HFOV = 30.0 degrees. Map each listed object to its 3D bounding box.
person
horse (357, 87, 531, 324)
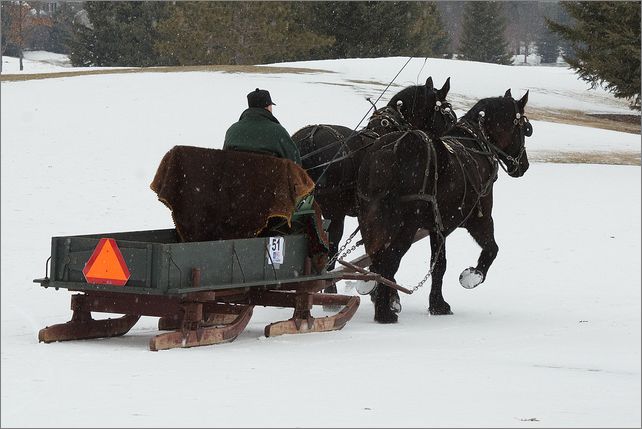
[{"bbox_3d":[-1.321,-1.925,26.457,1.663,1.421,1.003,3,19,-2],"label":"person"},{"bbox_3d":[2.916,-0.042,28.955,2.062,5.308,5.911,-2,-1,42],"label":"horse"}]
